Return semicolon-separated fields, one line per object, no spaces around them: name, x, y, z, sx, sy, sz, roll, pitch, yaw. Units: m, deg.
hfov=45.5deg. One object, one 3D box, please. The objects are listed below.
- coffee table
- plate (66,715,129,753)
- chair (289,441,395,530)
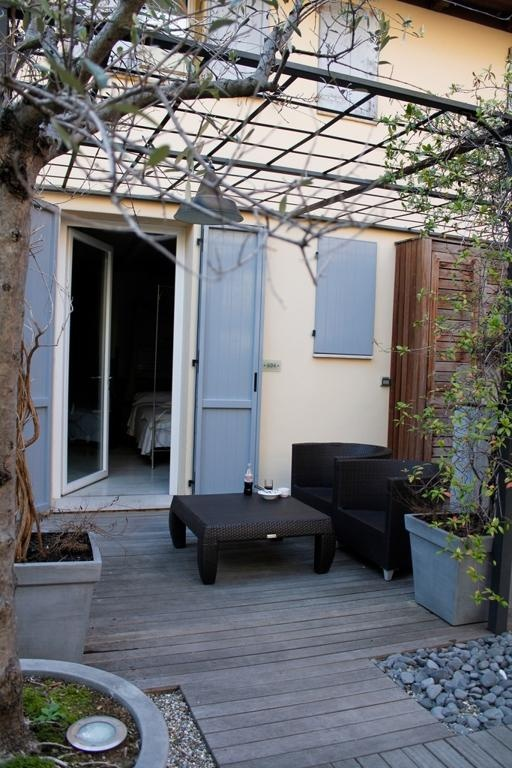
coffee table;-0.031;0.986;3.943;0.893;0.484;0.953;2;1;-20
plate;-0.375;0.832;1.442;0.139;0.032;0.162;4;2;-20
chair;0.648;0.755;4.825;0.505;0.515;0.646;1;2;-26
